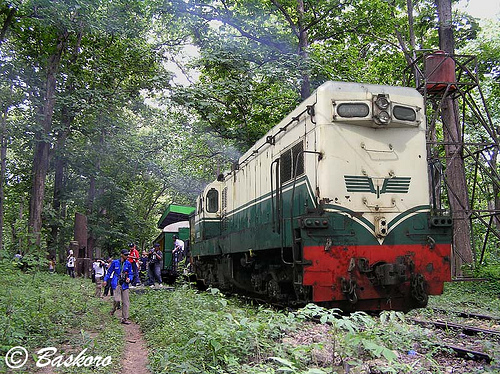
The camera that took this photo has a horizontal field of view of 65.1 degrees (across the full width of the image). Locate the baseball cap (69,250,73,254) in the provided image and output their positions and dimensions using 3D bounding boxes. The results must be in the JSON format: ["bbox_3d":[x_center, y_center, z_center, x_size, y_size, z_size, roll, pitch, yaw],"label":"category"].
[{"bbox_3d":[-11.102,4.064,24.336,0.202,0.239,0.488,7,-15,-24],"label":"baseball cap"}]

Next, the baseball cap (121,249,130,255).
[{"bbox_3d":[-3.649,1.911,11.374,0.204,0.114,0.158,-3,2,15],"label":"baseball cap"}]

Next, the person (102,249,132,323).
[{"bbox_3d":[-3.884,2.900,11.605,0.783,2.075,1.403,5,-14,-20],"label":"person"}]
